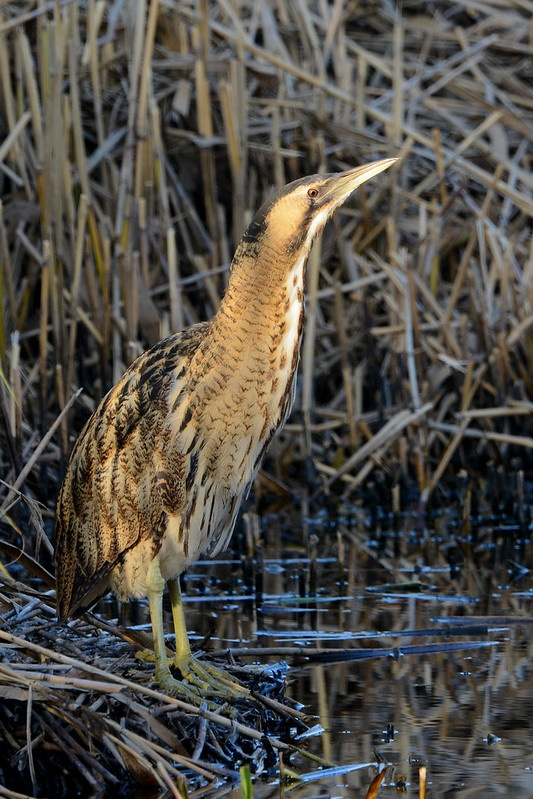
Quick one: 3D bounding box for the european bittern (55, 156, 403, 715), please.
[{"bbox_3d":[-0.200,0.067,2.074,0.499,0.875,0.726,14,46,4],"label":"european bittern"}]
